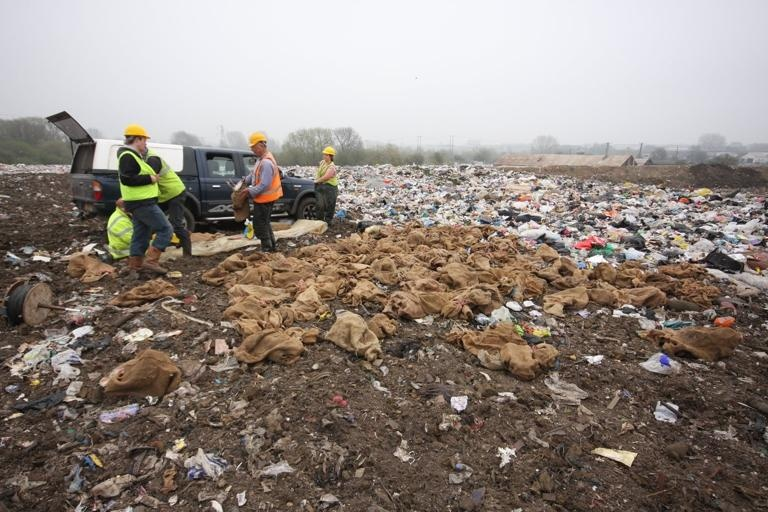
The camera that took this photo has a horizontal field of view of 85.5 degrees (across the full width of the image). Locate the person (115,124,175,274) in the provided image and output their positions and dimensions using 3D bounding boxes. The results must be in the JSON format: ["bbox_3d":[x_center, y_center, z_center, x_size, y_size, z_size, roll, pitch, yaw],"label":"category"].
[{"bbox_3d":[-3.871,-0.869,6.626,0.537,2.317,0.551,9,20,27],"label":"person"}]

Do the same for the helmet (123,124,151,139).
[{"bbox_3d":[-3.884,-1.945,6.464,0.265,0.160,0.315,-13,21,-37],"label":"helmet"}]

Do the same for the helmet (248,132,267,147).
[{"bbox_3d":[-2.246,-2.069,7.372,0.271,0.207,0.346,-6,17,-18],"label":"helmet"}]

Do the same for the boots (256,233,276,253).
[{"bbox_3d":[-2.282,-0.259,7.976,0.397,0.467,0.191,-1,-22,-46],"label":"boots"}]
